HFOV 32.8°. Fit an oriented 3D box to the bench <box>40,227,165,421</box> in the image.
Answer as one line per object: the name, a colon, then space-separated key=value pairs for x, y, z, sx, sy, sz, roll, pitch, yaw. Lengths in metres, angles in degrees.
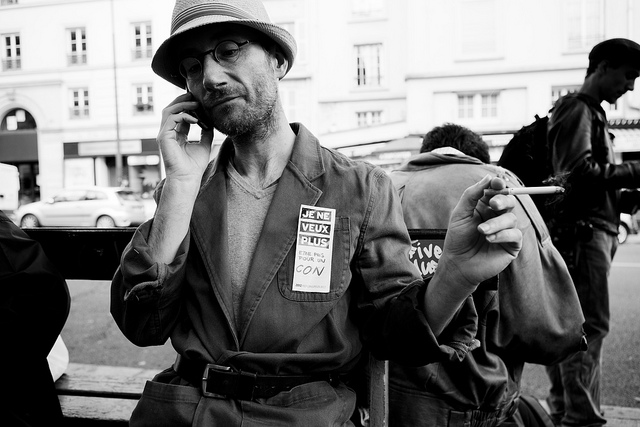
bench: x=-1.206 y=0.639 z=6.032 sx=0.956 sy=0.709 sz=0.387 roll=1 pitch=-7 yaw=3
